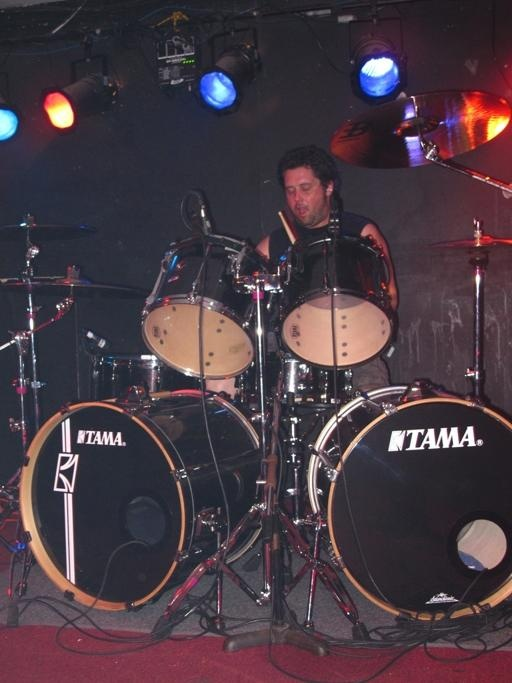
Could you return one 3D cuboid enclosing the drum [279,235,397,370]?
[{"bbox_3d":[0.304,-0.139,3.161,0.424,0.433,0.345,-1,-11,1],"label":"drum"}]

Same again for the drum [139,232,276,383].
[{"bbox_3d":[-0.203,-0.115,3.324,0.468,0.512,0.481,1,-11,-7],"label":"drum"}]

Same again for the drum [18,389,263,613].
[{"bbox_3d":[-0.432,0.625,3.261,0.709,0.676,0.571,-24,-2,28],"label":"drum"}]
